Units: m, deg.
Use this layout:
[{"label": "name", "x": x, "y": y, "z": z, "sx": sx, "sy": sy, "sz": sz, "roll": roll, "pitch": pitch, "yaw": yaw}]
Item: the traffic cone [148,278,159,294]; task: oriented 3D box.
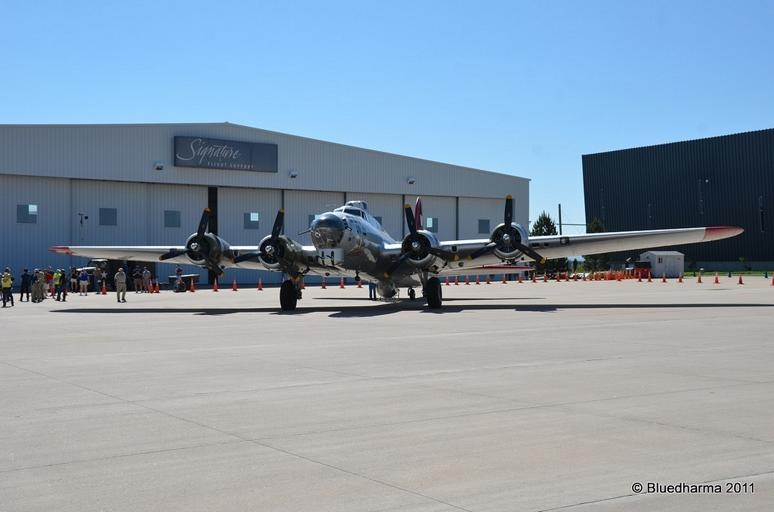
[{"label": "traffic cone", "x": -15.763, "y": 2.021, "z": 49.047, "sx": 0.653, "sy": 0.698, "sz": 0.653, "roll": -13, "pitch": -34, "yaw": 18}]
